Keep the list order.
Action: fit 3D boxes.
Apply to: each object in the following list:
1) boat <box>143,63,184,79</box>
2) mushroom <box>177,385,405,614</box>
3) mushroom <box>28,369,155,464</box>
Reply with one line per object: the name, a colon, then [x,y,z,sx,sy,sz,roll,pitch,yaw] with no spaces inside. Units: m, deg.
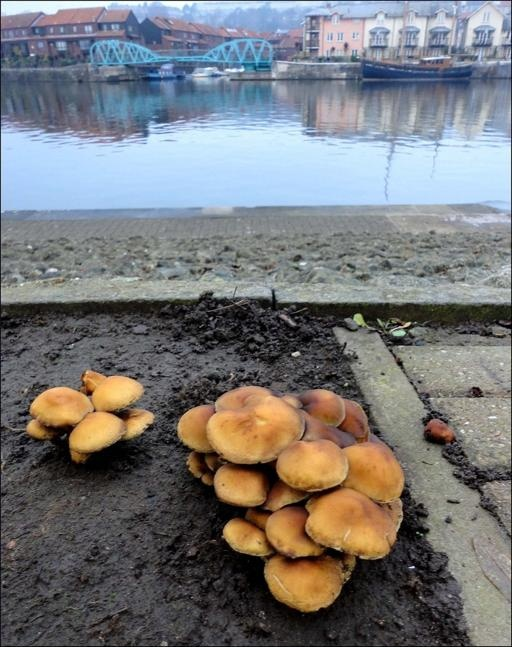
boat: [-3.631,-10.111,19.882,1.046,0.560,2.083,7,27,18]
mushroom: [0.140,0.491,1.547,0.564,0.467,0.686,-14,29,-21]
mushroom: [-0.631,0.377,1.907,0.316,0.249,0.375,-17,23,-39]
